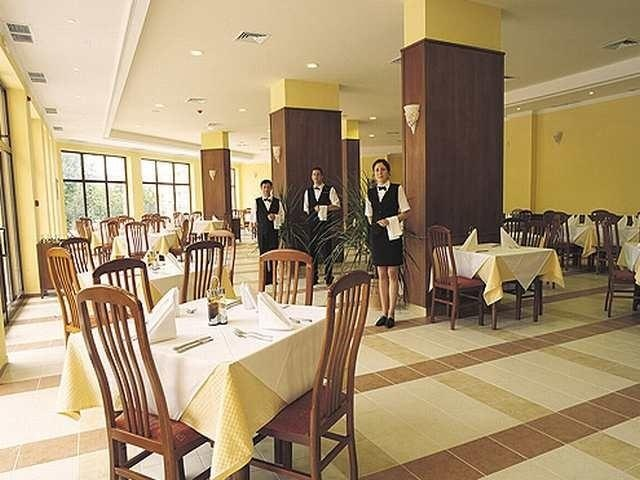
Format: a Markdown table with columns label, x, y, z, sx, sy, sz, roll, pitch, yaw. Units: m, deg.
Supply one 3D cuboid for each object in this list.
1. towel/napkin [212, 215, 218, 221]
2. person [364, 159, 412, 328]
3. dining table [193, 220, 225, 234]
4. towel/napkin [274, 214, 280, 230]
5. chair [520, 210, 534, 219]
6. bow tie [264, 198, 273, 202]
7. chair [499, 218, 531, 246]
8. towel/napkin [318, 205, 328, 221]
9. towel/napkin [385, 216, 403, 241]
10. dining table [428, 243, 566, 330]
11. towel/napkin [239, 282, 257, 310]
| label | x | y | z | sx | sy | sz | roll | pitch | yaw |
| --- | --- | --- | --- | --- | --- | --- | --- | --- | --- |
| towel/napkin | -3.273 | -0.652 | 14.035 | 0.221 | 0.225 | 0.053 | 0 | -7 | -8 |
| person | 0.849 | 0.046 | 5.685 | 0.454 | 2.076 | 0.500 | -4 | 6 | -21 |
| dining table | -3.233 | -0.346 | 12.986 | 0.862 | 0.371 | 1.534 | -4 | 5 | -20 |
| towel/napkin | -0.738 | -0.311 | 7.917 | 0.156 | 0.200 | 0.195 | 0 | -5 | -4 |
| chair | 4.010 | -0.487 | 8.695 | 0.296 | 0.149 | 0.438 | -1 | 4 | 16 |
| bow tie | -0.899 | -0.689 | 7.924 | 0.148 | 0.080 | 0.049 | -4 | 6 | -19 |
| chair | 2.918 | -0.117 | 6.702 | 0.394 | 0.608 | 0.408 | 0 | 7 | 15 |
| towel/napkin | 0.056 | -0.454 | 7.720 | 0.173 | 0.241 | 0.070 | 0 | -1 | 10 |
| towel/napkin | 0.894 | -0.131 | 5.524 | 0.196 | 0.280 | 0.099 | -4 | -1 | -12 |
| dining table | 2.306 | 0.566 | 5.620 | 1.234 | 0.981 | 0.684 | -4 | 6 | -21 |
| towel/napkin | -0.554 | 0.447 | 3.468 | 0.047 | 0.198 | 0.128 | -19 | -4 | -13 |
